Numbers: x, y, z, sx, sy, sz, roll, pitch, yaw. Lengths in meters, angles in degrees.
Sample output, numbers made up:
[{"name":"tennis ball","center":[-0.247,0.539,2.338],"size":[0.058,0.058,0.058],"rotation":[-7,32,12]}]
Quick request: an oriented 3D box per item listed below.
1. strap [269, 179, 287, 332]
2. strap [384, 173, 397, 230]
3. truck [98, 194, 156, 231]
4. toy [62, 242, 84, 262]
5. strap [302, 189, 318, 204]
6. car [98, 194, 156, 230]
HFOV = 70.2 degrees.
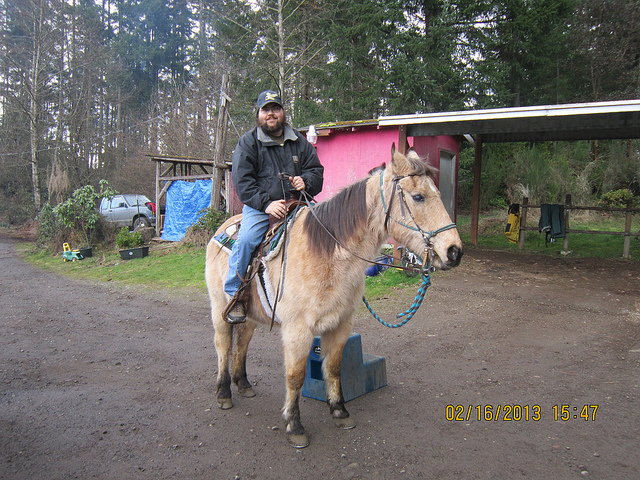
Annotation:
[{"name":"strap","center":[-0.536,0.374,6.237],"size":[0.078,1.712,0.226],"rotation":[2,-13,10]},{"name":"strap","center":[0.881,-0.525,6.028],"size":[0.079,0.930,0.127],"rotation":[12,2,8]},{"name":"truck","center":[-9.405,-1.366,21.854],"size":[2.459,1.460,1.534],"rotation":[-2,6,15]},{"name":"toy","center":[-9.908,0.505,18.383],"size":[0.557,0.596,0.335],"rotation":[3,8,14]},{"name":"strap","center":[-0.123,-0.618,6.759],"size":[0.353,0.034,0.049],"rotation":[43,13,-23]},{"name":"car","center":[-9.285,-1.401,21.889],"size":[2.551,1.504,1.575],"rotation":[-2,4,19]}]
